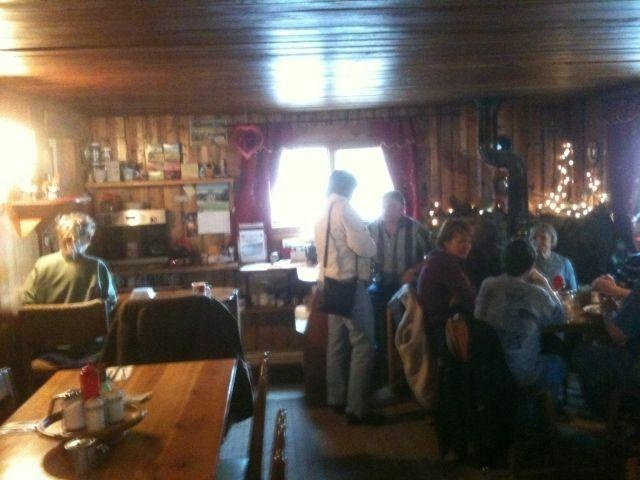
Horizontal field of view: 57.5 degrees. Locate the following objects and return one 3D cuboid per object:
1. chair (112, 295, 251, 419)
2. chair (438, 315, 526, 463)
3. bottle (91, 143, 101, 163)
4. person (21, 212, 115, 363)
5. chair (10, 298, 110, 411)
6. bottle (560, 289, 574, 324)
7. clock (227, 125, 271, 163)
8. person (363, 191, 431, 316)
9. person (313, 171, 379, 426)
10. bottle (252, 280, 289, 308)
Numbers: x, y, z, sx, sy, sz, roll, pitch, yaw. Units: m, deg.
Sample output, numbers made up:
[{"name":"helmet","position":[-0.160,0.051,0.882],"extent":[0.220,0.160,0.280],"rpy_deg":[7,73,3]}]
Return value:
[{"name":"chair","position":[-0.898,0.754,3.686],"extent":[0.745,0.717,0.434],"rpy_deg":[1,12,0]},{"name":"chair","position":[1.079,1.041,4.076],"extent":[0.547,1.139,0.387],"rpy_deg":[3,11,29]},{"name":"bottle","position":[-2.522,-0.958,6.550],"extent":[0.137,0.243,0.056],"rpy_deg":[-6,10,-22]},{"name":"person","position":[-2.148,0.371,5.091],"extent":[0.788,1.200,0.649],"rpy_deg":[2,16,-15]},{"name":"chair","position":[-2.056,0.962,4.914],"extent":[0.755,1.060,0.714],"rpy_deg":[0,15,0]},{"name":"bottle","position":[1.934,0.516,4.537],"extent":[0.076,0.219,0.171],"rpy_deg":[5,0,17]},{"name":"clock","position":[-0.850,-1.123,6.724],"extent":[0.419,0.401,0.054],"rpy_deg":[-6,10,-34]},{"name":"person","position":[0.715,0.393,5.643],"extent":[0.678,1.647,0.550],"rpy_deg":[1,15,13]},{"name":"person","position":[0.203,0.457,4.801],"extent":[0.506,2.024,0.397],"rpy_deg":[0,10,13]},{"name":"bottle","position":[-0.555,0.627,6.662],"extent":[0.467,0.228,0.323],"rpy_deg":[-3,10,-5]}]
